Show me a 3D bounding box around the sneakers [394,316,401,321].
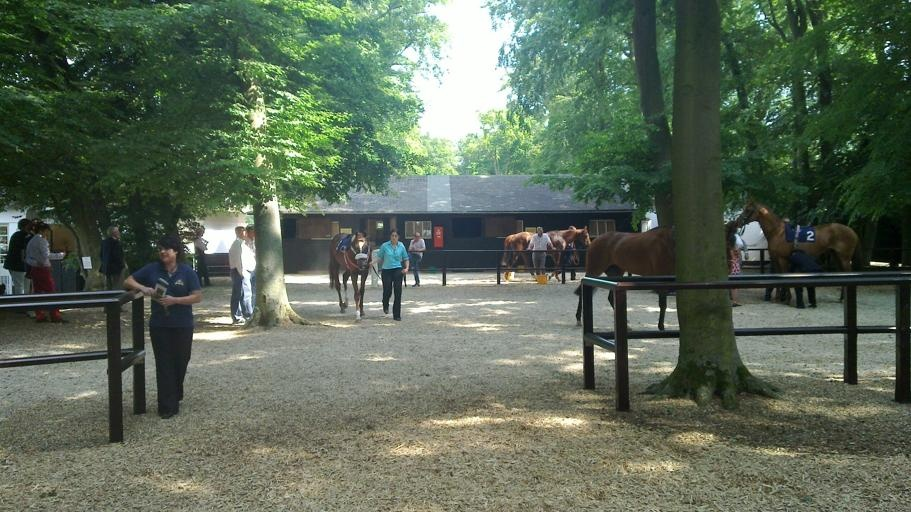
[{"bbox_3d":[-1.651,1.804,23.300,0.179,0.051,0.192,-2,1,-9],"label":"sneakers"}]

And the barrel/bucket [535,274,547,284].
[{"bbox_3d":[3.516,0.931,32.476,0.378,0.317,0.366,-1,-1,0],"label":"barrel/bucket"}]

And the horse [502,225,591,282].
[{"bbox_3d":[3.876,-0.151,34.407,3.873,2.132,0.841,-2,-19,2],"label":"horse"}]
